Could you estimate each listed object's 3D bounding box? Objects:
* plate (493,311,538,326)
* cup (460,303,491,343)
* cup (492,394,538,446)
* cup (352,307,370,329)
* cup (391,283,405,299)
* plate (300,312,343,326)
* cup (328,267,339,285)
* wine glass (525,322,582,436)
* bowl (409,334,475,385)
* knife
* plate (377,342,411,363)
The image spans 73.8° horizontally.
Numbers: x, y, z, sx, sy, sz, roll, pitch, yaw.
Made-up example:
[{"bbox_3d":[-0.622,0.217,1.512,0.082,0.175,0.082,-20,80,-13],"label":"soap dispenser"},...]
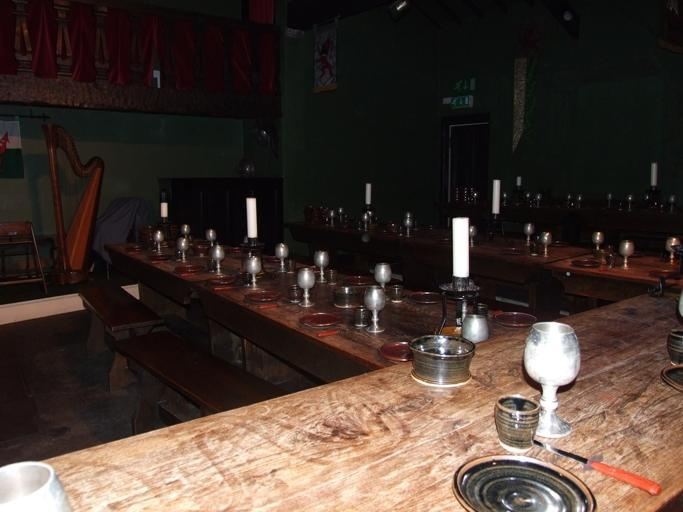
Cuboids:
[{"bbox_3d":[0.753,0.271,1.983,0.169,0.024,0.227,2,9,18],"label":"plate"},{"bbox_3d":[0.473,0.245,1.653,0.113,0.145,0.155,1,-1,7],"label":"cup"},{"bbox_3d":[0.374,0.355,0.969,0.085,0.102,0.084,-1,9,0],"label":"cup"},{"bbox_3d":[0.076,0.276,2.014,0.075,0.084,0.081,1,12,0],"label":"cup"},{"bbox_3d":[0.301,0.187,2.384,0.070,0.072,0.070,0,-1,0],"label":"cup"},{"bbox_3d":[-0.097,0.284,2.013,0.175,0.024,0.153,3,9,22],"label":"plate"},{"bbox_3d":[-0.074,0.127,2.810,0.074,0.082,0.077,0,7,0],"label":"cup"},{"bbox_3d":[0.506,0.276,1.097,0.116,0.219,0.262,4,10,25],"label":"wine glass"},{"bbox_3d":[0.287,0.308,1.284,0.172,0.078,0.179,5,-3,0],"label":"bowl"},{"bbox_3d":[0.500,0.396,0.912,0.051,0.014,0.236,-15,17,-35],"label":"knife"},{"bbox_3d":[0.200,0.347,1.644,0.100,0.017,0.101,6,15,38],"label":"plate"}]
